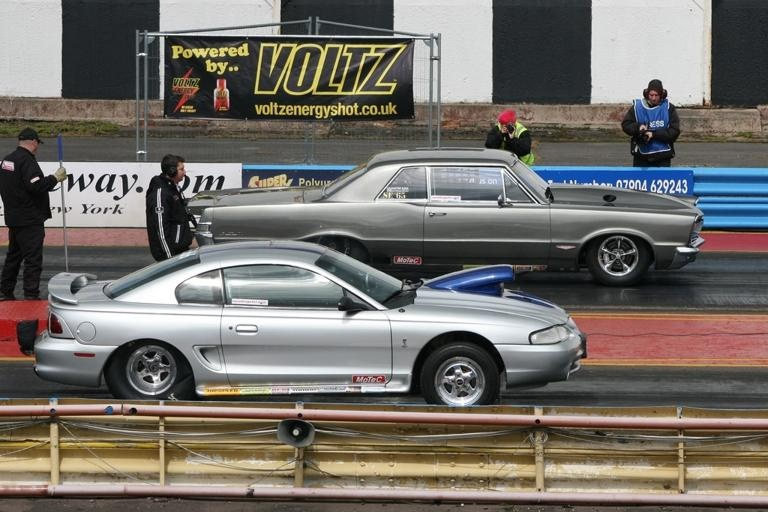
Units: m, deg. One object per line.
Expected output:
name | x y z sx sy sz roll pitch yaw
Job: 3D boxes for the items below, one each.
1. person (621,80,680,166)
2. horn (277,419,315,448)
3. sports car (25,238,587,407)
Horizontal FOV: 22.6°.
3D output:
person | 6.249 -2.582 44.646 1.683 2.656 1.180 -1 13 -3
horn | -1.636 3.230 35.261 0.840 0.497 0.528 -1 5 1
sports car | -1.518 1.090 37.979 11.006 2.161 3.683 1 15 0
